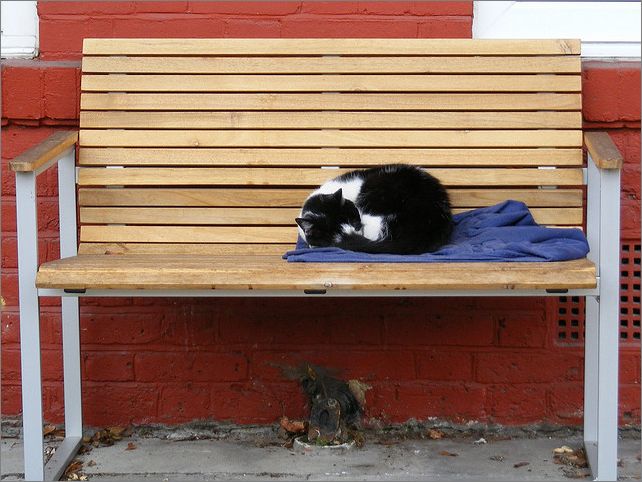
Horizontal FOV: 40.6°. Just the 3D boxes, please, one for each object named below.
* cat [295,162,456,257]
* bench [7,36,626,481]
[{"bbox_3d":[0.225,-0.111,3.520,0.567,0.374,0.182,-8,-45,-1],"label":"cat"},{"bbox_3d":[0.043,0.038,3.691,2.288,1.337,0.800,0,11,2],"label":"bench"}]
